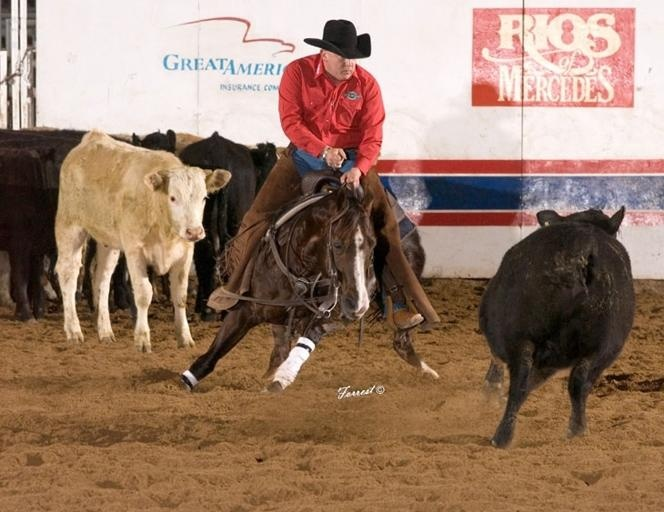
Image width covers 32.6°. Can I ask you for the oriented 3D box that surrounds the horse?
[{"bbox_3d":[-0.497,0.421,11.658,1.094,2.413,3.784,7,3,-24],"label":"horse"}]

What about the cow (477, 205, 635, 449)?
[{"bbox_3d":[2.111,0.661,10.788,1.427,2.235,0.957,3,9,7],"label":"cow"}]
